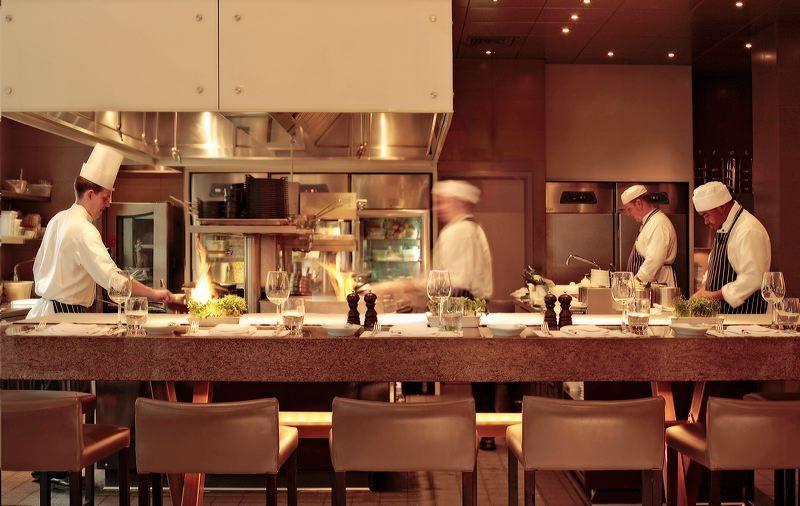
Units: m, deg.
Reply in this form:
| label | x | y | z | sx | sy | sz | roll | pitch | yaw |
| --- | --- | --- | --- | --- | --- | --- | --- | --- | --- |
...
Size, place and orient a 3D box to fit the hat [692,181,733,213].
| label | x | y | z | sx | sy | sz | roll | pitch | yaw |
| --- | --- | --- | --- | --- | --- | --- | --- | --- | --- |
| hat | 2.480 | -0.431 | 5.991 | 0.253 | 0.182 | 0.245 | -17 | 14 | -37 |

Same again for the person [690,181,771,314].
| label | x | y | z | sx | sy | sz | roll | pitch | yaw |
| --- | --- | --- | --- | --- | --- | --- | --- | --- | --- |
| person | 2.529 | -0.059 | 5.733 | 0.535 | 1.017 | 0.750 | -1 | -2 | 18 |

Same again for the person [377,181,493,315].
| label | x | y | z | sx | sy | sz | roll | pitch | yaw |
| --- | --- | --- | --- | --- | --- | --- | --- | --- | --- |
| person | 0.326 | -0.060 | 6.155 | 0.835 | 1.060 | 0.653 | -1 | -2 | 18 |

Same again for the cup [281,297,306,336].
| label | x | y | z | sx | sy | sz | roll | pitch | yaw |
| --- | --- | --- | --- | --- | --- | --- | --- | --- | --- |
| cup | -0.637 | 0.377 | 4.520 | 0.191 | 0.305 | 0.184 | 1 | 9 | 0 |

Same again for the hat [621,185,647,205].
| label | x | y | z | sx | sy | sz | roll | pitch | yaw |
| --- | --- | --- | --- | --- | --- | --- | --- | --- | --- |
| hat | 2.212 | -0.541 | 7.046 | 0.255 | 0.141 | 0.186 | -5 | -1 | 4 |

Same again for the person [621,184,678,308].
| label | x | y | z | sx | sy | sz | roll | pitch | yaw |
| --- | --- | --- | --- | --- | --- | --- | --- | --- | --- |
| person | 2.298 | -0.157 | 6.848 | 0.450 | 0.930 | 0.659 | -1 | -1 | 7 |

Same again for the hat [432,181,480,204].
| label | x | y | z | sx | sy | sz | roll | pitch | yaw |
| --- | --- | --- | --- | --- | --- | --- | --- | --- | --- |
| hat | 0.442 | -0.455 | 6.103 | 0.308 | 0.158 | 0.276 | 7 | 2 | 6 |
